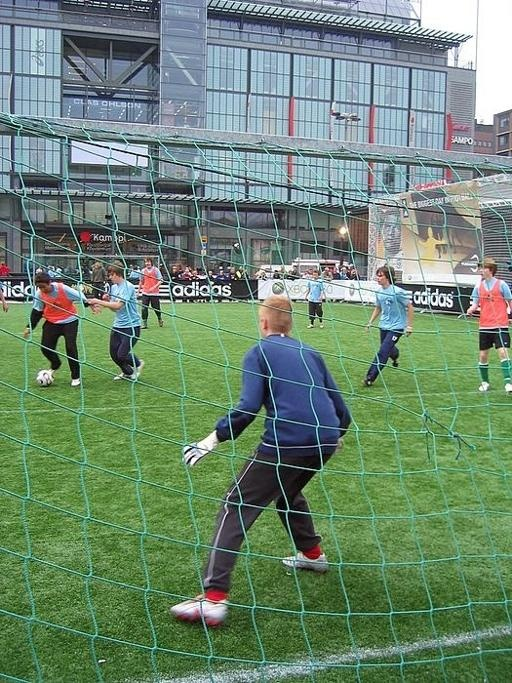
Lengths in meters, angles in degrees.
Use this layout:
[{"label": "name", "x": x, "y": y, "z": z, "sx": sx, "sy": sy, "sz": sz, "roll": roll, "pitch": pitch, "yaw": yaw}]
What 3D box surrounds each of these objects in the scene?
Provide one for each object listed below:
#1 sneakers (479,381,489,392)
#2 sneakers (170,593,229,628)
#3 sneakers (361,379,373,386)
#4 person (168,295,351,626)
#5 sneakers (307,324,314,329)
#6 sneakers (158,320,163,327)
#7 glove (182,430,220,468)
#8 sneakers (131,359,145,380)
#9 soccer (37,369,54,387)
[{"label": "sneakers", "x": 2.274, "y": 0.455, "z": 7.899, "sx": 0.102, "sy": 0.091, "sz": 0.227, "roll": -2, "pitch": -9, "yaw": 20}, {"label": "sneakers", "x": -0.224, "y": 1.101, "z": 3.223, "sx": 0.269, "sy": 0.087, "sz": 0.137, "roll": 4, "pitch": 9, "yaw": 7}, {"label": "sneakers", "x": 1.141, "y": 0.427, "z": 8.103, "sx": 0.051, "sy": 0.060, "sz": 0.133, "roll": 24, "pitch": -9, "yaw": 24}, {"label": "person", "x": 0.053, "y": 0.476, "z": 3.408, "sx": 0.882, "sy": 1.322, "sz": 0.351, "roll": -6, "pitch": 11, "yaw": -42}, {"label": "sneakers", "x": 1.056, "y": -0.282, "z": 15.393, "sx": 0.066, "sy": 0.068, "sz": 0.172, "roll": -3, "pitch": -5, "yaw": 16}, {"label": "sneakers", "x": -1.821, "y": -0.339, "z": 15.104, "sx": 0.057, "sy": 0.150, "sz": 0.067, "roll": -8, "pitch": 0, "yaw": -31}, {"label": "glove", "x": -0.226, "y": 0.456, "z": 3.359, "sx": 0.195, "sy": 0.109, "sz": 0.071, "roll": -28, "pitch": 12, "yaw": -25}, {"label": "sneakers", "x": -1.204, "y": 0.288, "z": 8.000, "sx": 0.110, "sy": 0.127, "sz": 0.306, "roll": 7, "pitch": 33, "yaw": -6}, {"label": "soccer", "x": -2.071, "y": 0.362, "z": 7.768, "sx": 0.147, "sy": 0.150, "sz": 0.237, "roll": -1, "pitch": 8, "yaw": -16}]
